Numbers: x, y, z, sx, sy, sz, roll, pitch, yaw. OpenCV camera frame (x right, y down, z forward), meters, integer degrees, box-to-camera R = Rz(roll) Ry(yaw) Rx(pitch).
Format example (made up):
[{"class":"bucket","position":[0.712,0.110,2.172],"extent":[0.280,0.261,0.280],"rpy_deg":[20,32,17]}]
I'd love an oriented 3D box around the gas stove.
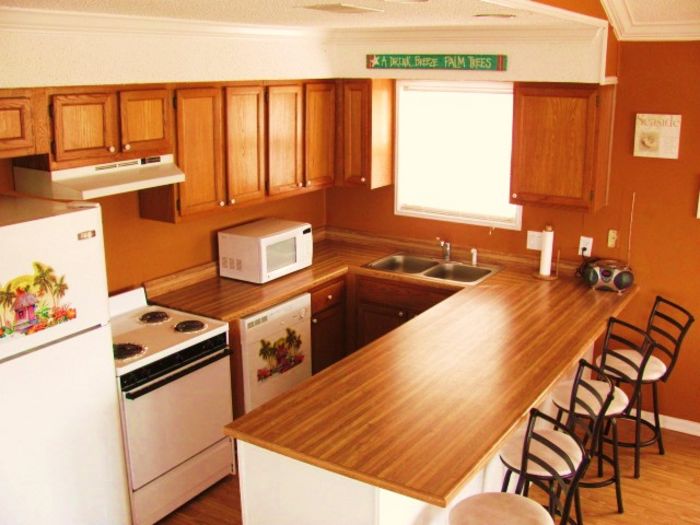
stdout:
[{"class":"gas stove","position":[-1.236,0.449,3.582],"extent":[0.451,0.112,0.436],"rpy_deg":[13,21,41]}]

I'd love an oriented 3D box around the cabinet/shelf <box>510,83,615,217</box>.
[{"class":"cabinet/shelf","position":[1.595,-0.876,4.052],"extent":[0.805,1.120,0.588],"rpy_deg":[8,16,33]}]

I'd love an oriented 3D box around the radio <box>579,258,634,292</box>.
[{"class":"radio","position":[1.989,0.040,4.172],"extent":[0.307,0.170,0.297],"rpy_deg":[14,26,42]}]

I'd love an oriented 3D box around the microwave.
[{"class":"microwave","position":[-0.700,-0.121,4.601],"extent":[0.512,0.365,0.708],"rpy_deg":[11,20,28]}]

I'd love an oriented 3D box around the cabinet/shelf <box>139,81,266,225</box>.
[{"class":"cabinet/shelf","position":[-1.063,-0.806,3.816],"extent":[0.458,1.397,0.774],"rpy_deg":[8,18,25]}]

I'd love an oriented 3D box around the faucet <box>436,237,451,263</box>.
[{"class":"faucet","position":[0.858,-0.110,4.902],"extent":[0.130,0.197,0.245],"rpy_deg":[2,14,10]}]

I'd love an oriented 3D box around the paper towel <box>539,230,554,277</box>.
[{"class":"paper towel","position":[1.625,-0.093,4.460],"extent":[0.095,0.399,0.194],"rpy_deg":[4,15,19]}]

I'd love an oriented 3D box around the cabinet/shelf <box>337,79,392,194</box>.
[{"class":"cabinet/shelf","position":[0.161,-1.159,4.881],"extent":[0.542,0.950,0.292],"rpy_deg":[-2,14,-7]}]
